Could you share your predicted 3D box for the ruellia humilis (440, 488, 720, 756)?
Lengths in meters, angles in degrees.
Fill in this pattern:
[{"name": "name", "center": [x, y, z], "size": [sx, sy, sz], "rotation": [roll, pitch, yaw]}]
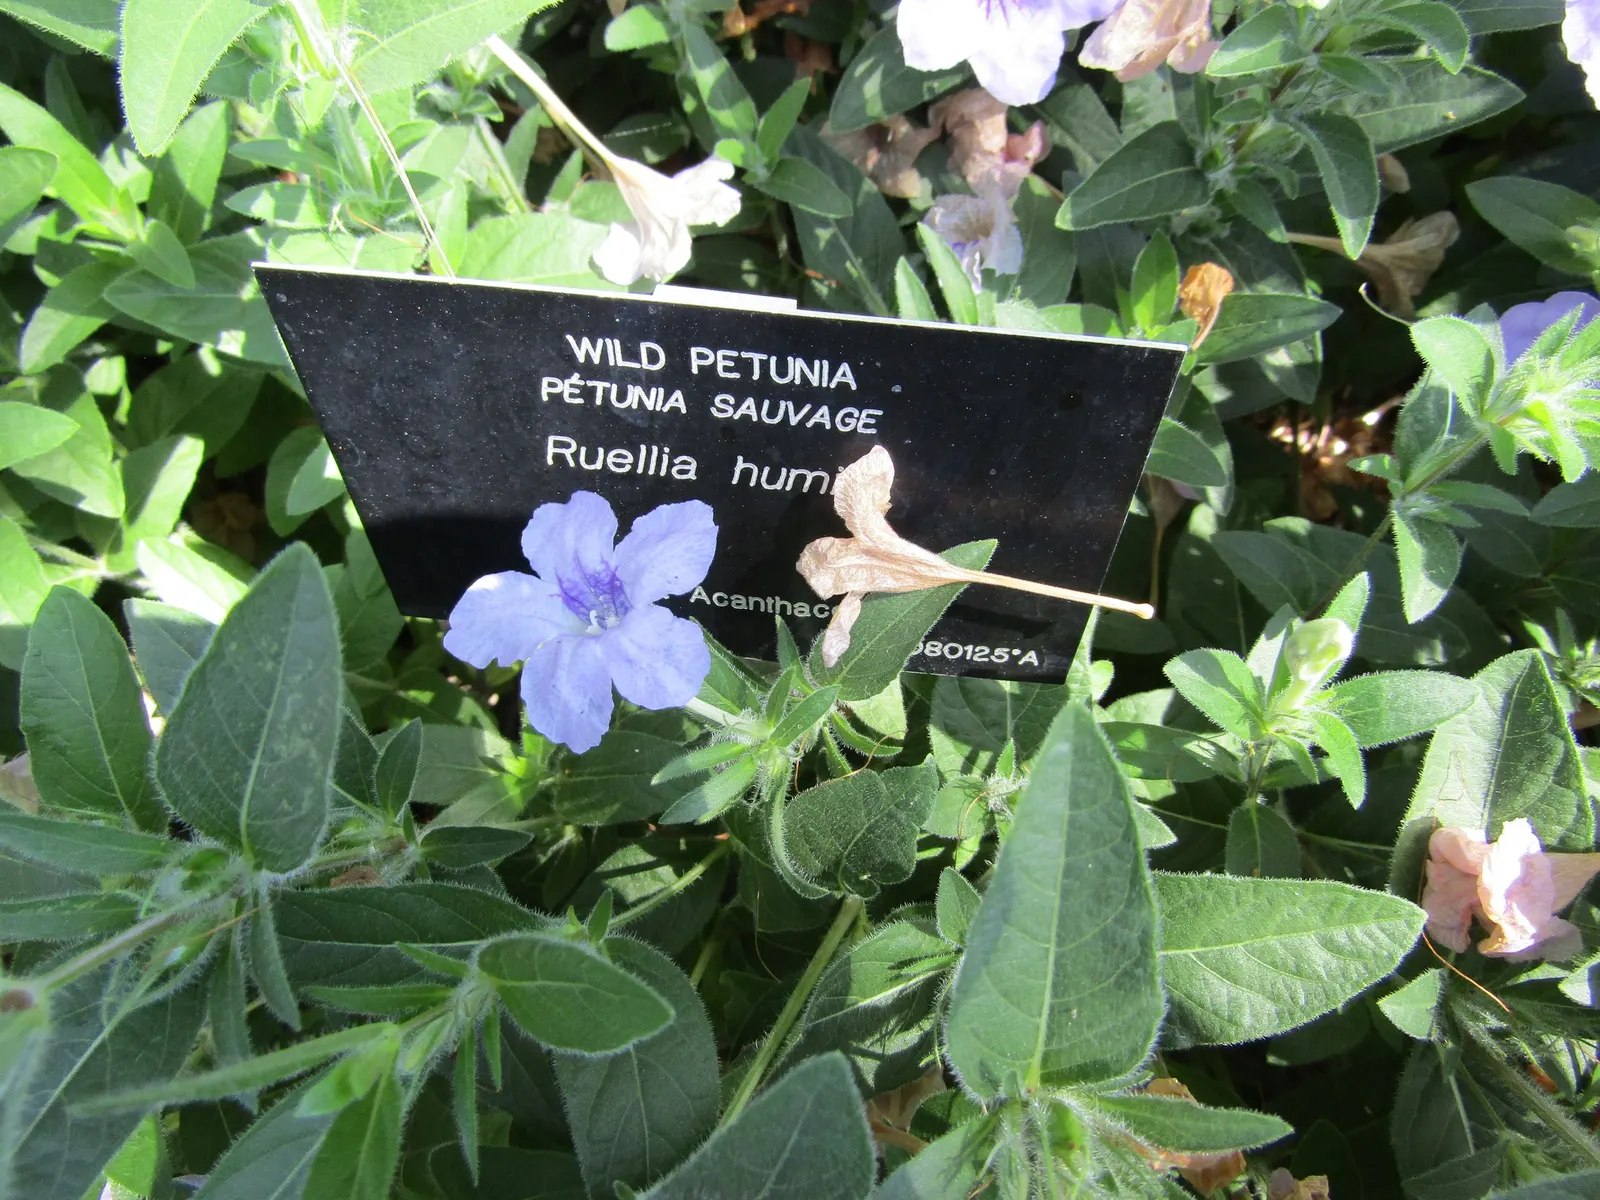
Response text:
[{"name": "ruellia humilis", "center": [-0.255, 0.027, 1.585], "size": [0.318, 0.092, 0.348], "rotation": [11, 63, 6]}]
